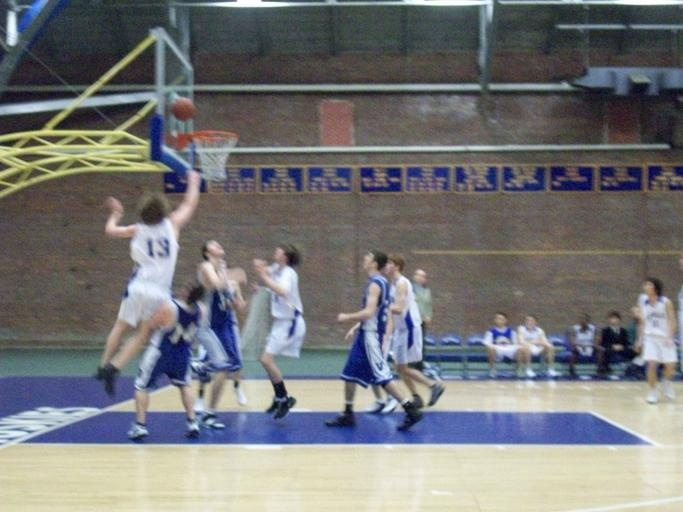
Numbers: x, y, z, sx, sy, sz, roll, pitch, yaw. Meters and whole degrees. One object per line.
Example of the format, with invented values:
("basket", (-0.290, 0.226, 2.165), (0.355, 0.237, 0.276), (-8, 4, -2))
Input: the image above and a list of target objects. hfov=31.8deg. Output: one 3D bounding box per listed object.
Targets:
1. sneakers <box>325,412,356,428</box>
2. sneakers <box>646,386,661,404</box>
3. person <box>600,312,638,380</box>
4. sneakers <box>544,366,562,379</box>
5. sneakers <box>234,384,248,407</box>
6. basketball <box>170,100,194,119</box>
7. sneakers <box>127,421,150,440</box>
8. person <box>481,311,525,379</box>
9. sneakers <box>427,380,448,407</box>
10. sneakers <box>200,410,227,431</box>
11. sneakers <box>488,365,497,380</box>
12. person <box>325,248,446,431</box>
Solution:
("sneakers", (0.001, 2.305, 16.723), (0.455, 0.156, 0.155), (3, -11, -8))
("sneakers", (4.719, 2.141, 18.144), (0.127, 0.224, 0.363), (-5, -14, 23))
("person", (4.823, 1.506, 20.747), (0.723, 1.018, 0.704), (2, 8, 7))
("sneakers", (3.561, 1.996, 20.249), (0.182, 0.136, 0.240), (11, -17, 41))
("sneakers", (-1.492, 2.061, 17.773), (0.144, 0.344, 0.150), (-19, -17, -49))
("basketball", (-2.444, -2.256, 18.396), (0.348, 0.328, 0.300), (5, -1, 17))
("sneakers", (-2.713, 2.357, 16.148), (0.158, 0.163, 0.362), (5, -9, -40))
("person", (2.804, 1.607, 20.947), (0.808, 1.192, 0.704), (4, -42, 6))
("sneakers", (1.366, 2.043, 17.416), (0.215, 0.160, 0.449), (7, -48, -3))
("sneakers", (-1.817, 2.295, 16.680), (0.485, 0.182, 0.155), (1, -3, 12))
("sneakers", (2.542, 2.007, 20.311), (0.091, 0.118, 0.276), (-5, -18, 14))
("person", (0.436, 1.176, 16.780), (1.276, 2.480, 0.977), (0, -2, 9))
